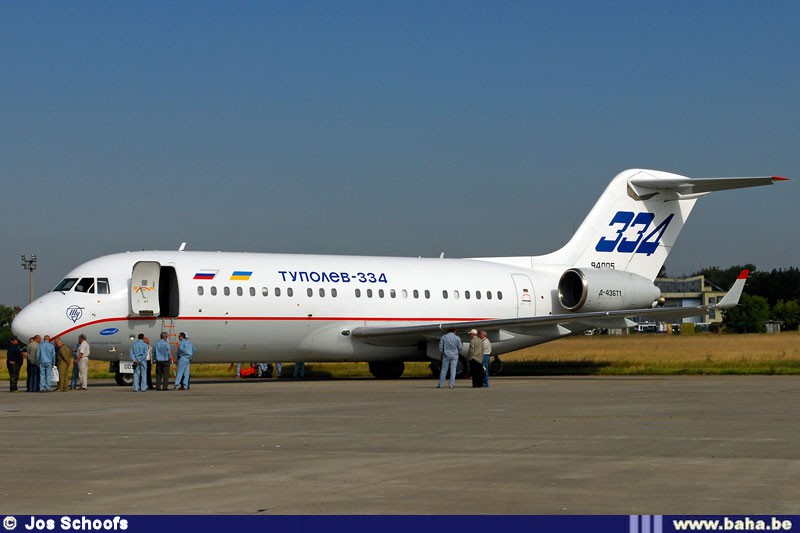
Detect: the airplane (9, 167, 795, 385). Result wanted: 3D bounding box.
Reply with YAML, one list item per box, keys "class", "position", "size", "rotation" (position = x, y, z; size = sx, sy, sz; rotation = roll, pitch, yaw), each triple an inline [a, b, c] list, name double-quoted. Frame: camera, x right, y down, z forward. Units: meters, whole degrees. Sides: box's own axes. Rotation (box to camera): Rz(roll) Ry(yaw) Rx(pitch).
- class: "airplane"
  position: [-0.305, 0.037, 42.862]
  size: [20.492, 6.954, 4.630]
  rotation: [1, -5, -22]

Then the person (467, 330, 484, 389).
- class: "person"
  position: [2.178, 2.633, 38.892]
  size: [0.413, 1.541, 1.004]
  rotation: [-1, -5, 3]

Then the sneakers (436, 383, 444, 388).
- class: "sneakers"
  position: [1.139, 3.374, 38.846]
  size: [0.159, 0.136, 0.380]
  rotation: [-1, -10, -4]

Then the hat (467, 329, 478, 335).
- class: "hat"
  position: [2.225, 1.984, 42.005]
  size: [0.289, 0.099, 0.361]
  rotation: [2, -1, -1]
